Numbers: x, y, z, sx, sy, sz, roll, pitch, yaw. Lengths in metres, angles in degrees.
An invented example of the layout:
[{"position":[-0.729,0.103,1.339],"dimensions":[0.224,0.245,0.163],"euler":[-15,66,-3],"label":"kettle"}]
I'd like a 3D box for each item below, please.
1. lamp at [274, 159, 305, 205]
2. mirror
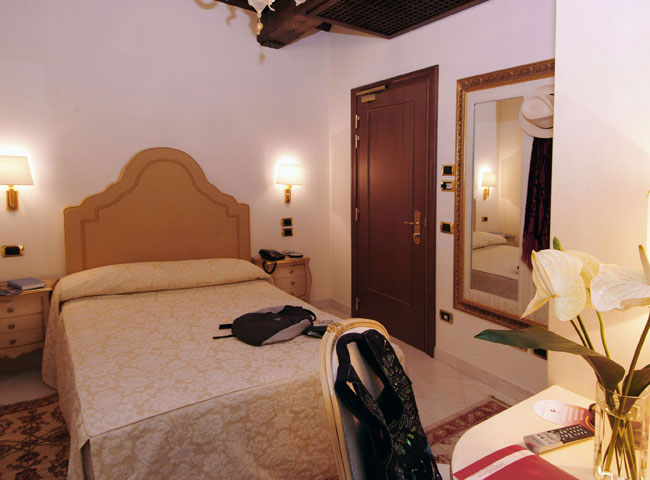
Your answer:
[{"position":[-0.379,-0.577,4.841],"dimensions":[0.264,0.397,0.269],"euler":[3,6,0],"label":"lamp"},{"position":[1.277,-0.388,3.270],"dimensions":[0.124,2.146,1.093],"euler":[-3,6,-29],"label":"mirror"}]
